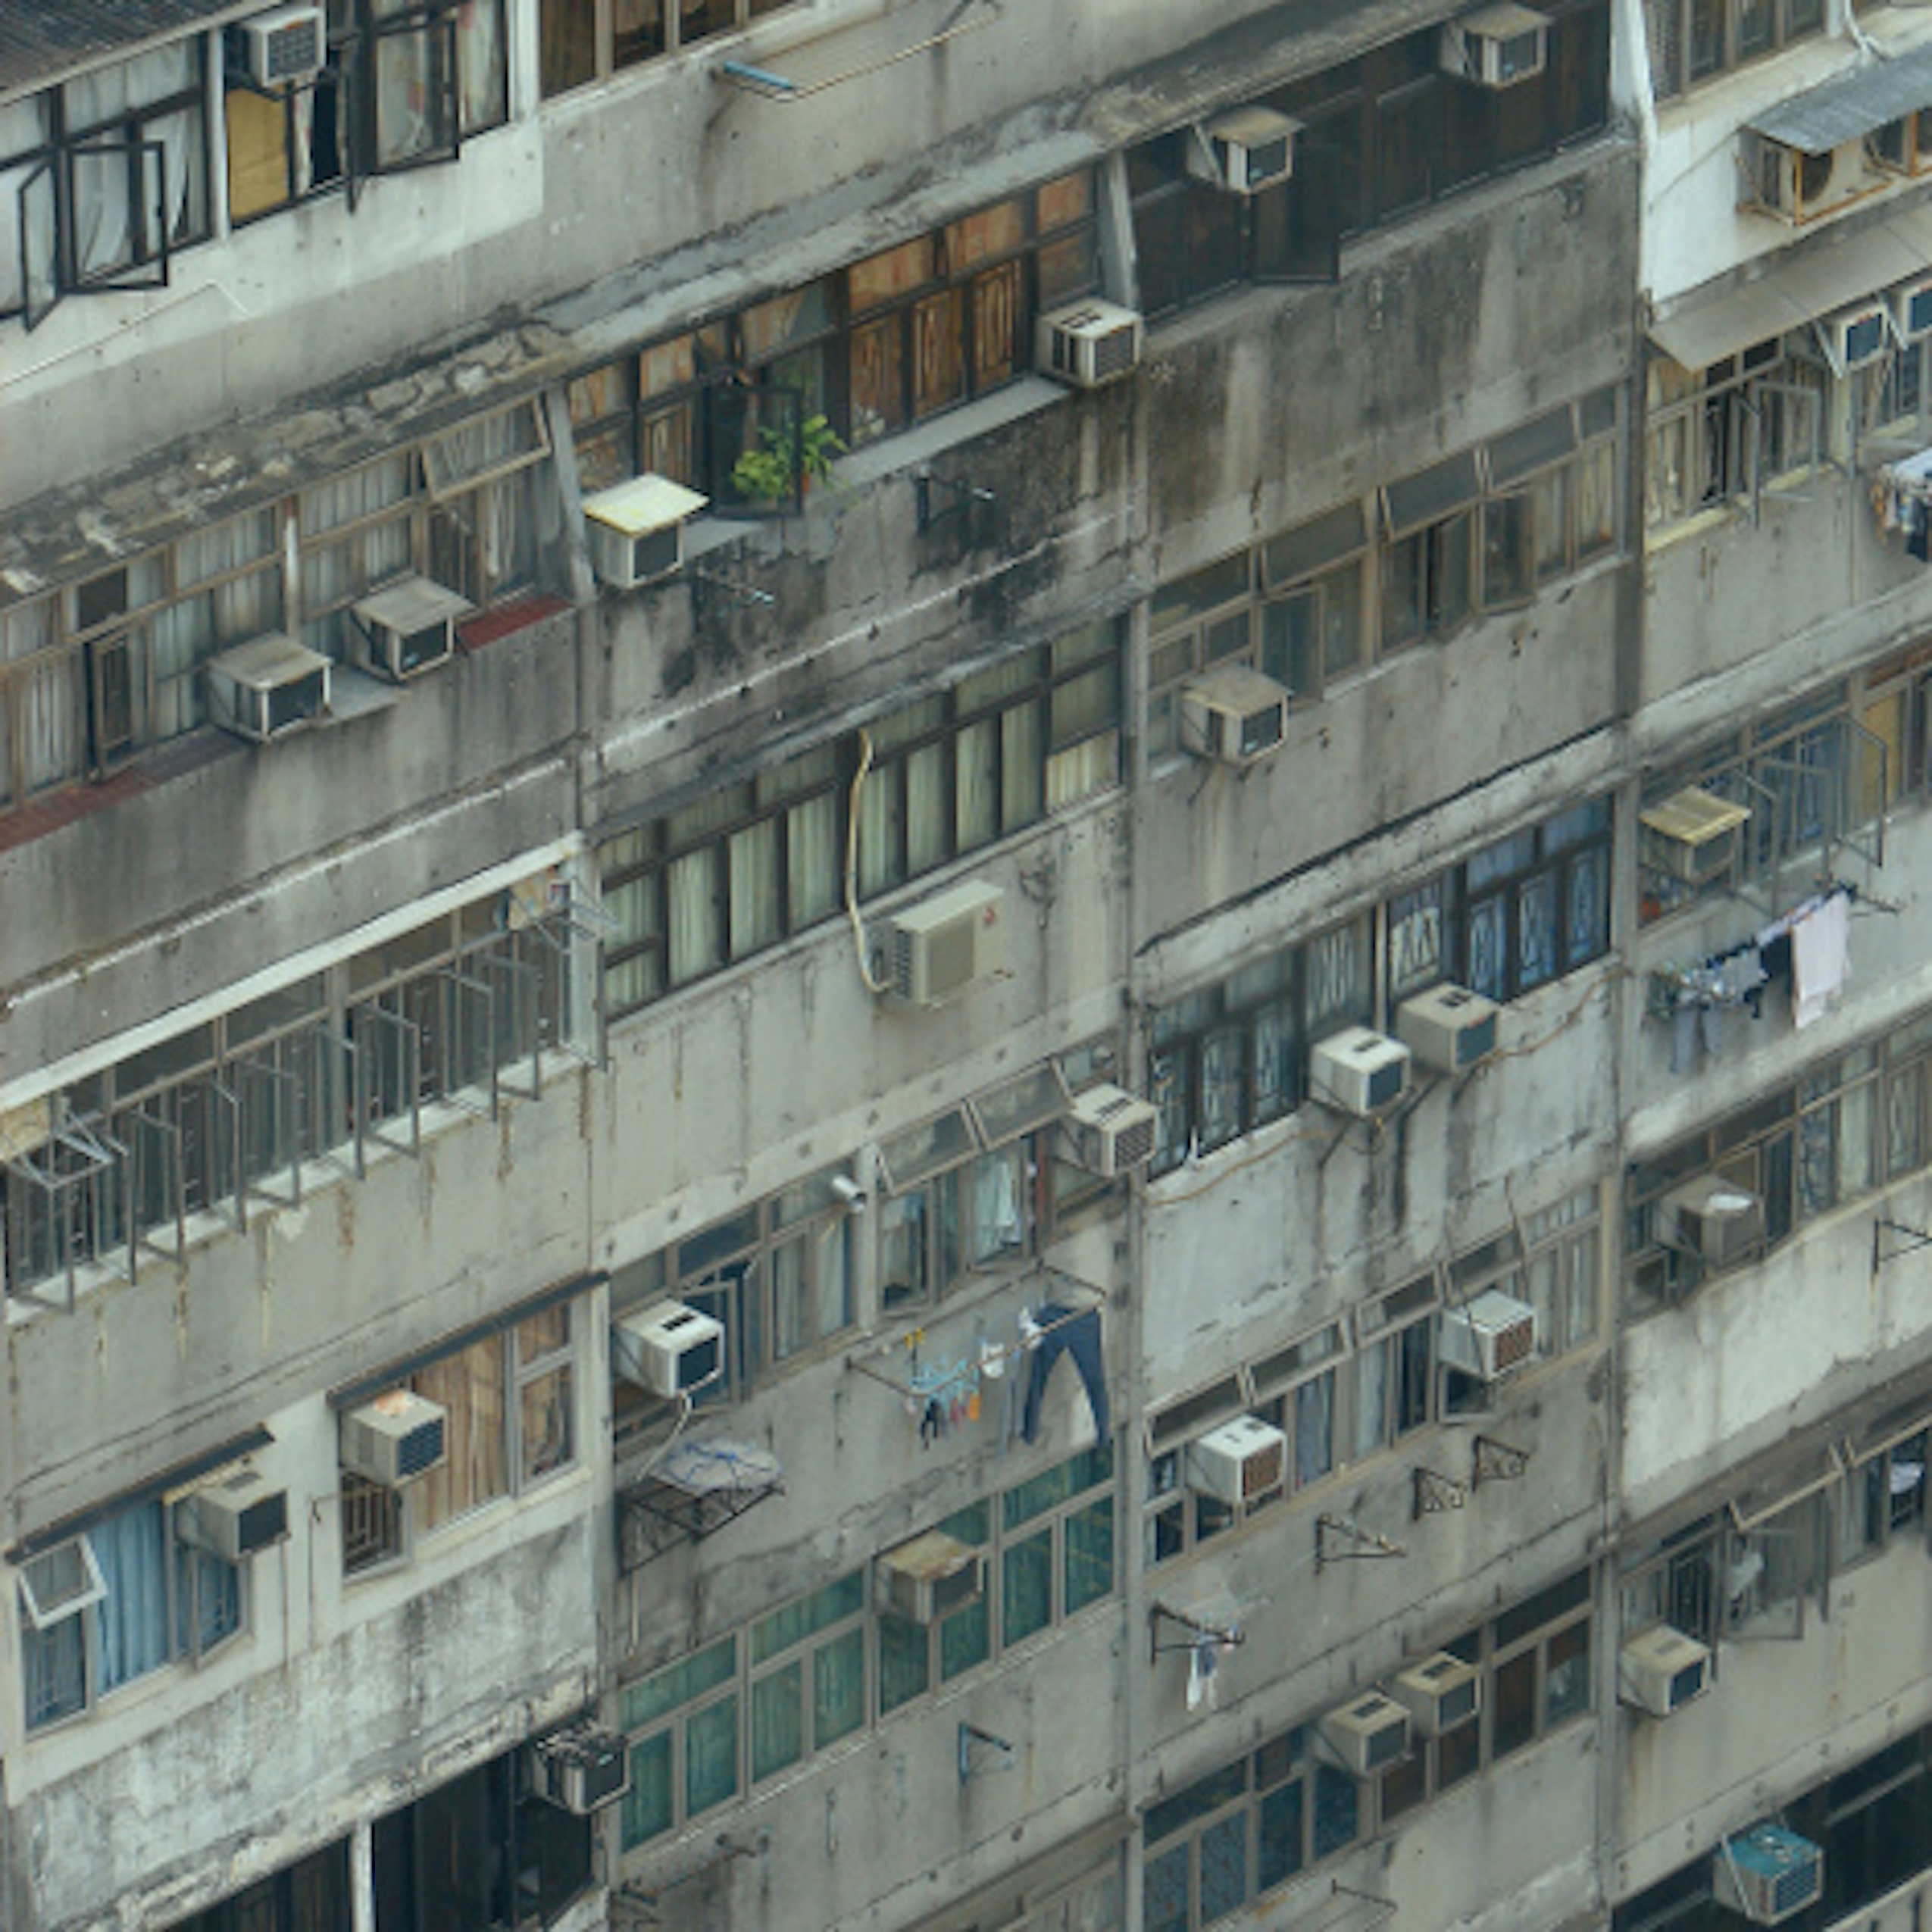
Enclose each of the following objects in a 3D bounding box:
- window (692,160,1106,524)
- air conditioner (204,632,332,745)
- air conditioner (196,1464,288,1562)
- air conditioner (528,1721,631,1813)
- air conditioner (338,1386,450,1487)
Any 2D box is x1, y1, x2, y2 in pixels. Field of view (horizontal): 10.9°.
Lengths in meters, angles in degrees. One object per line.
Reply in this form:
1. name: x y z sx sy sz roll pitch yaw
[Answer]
1. window: -0.814 -5.745 92.672 2.849 0.734 1.139 -35 -49 -32
2. air conditioner: -6.157 -2.494 88.681 1.060 0.788 0.770 -38 -35 -51
3. air conditioner: -6.500 4.966 91.050 0.742 0.791 0.765 -18 8 22
4. air conditioner: -3.653 7.671 94.783 0.784 0.768 0.638 -24 -50 -43
5. air conditioner: -5.267 4.292 91.839 0.818 0.815 0.707 -28 -66 -51
